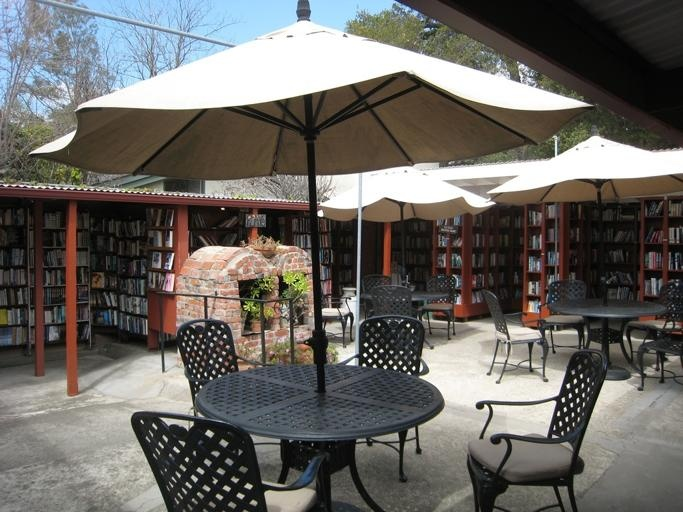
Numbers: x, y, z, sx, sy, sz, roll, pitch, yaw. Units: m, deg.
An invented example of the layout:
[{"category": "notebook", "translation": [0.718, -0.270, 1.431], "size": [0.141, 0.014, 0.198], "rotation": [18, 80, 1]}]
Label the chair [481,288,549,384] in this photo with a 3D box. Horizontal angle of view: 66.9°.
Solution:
[{"category": "chair", "translation": [2.221, 1.027, 6.690], "size": [0.743, 1.100, 0.679], "rotation": [-1, -2, -3]}]

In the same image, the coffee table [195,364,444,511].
[{"category": "coffee table", "translation": [-0.187, 0.885, 3.202], "size": [1.184, 0.645, 1.202], "rotation": [7, 9, 43]}]

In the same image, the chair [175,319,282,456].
[{"category": "chair", "translation": [-0.849, 0.958, 3.850], "size": [0.578, 0.957, 0.571], "rotation": [-9, -2, -43]}]

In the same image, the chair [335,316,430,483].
[{"category": "chair", "translation": [0.304, 1.022, 3.941], "size": [0.691, 1.042, 0.688], "rotation": [1, 8, 2]}]
